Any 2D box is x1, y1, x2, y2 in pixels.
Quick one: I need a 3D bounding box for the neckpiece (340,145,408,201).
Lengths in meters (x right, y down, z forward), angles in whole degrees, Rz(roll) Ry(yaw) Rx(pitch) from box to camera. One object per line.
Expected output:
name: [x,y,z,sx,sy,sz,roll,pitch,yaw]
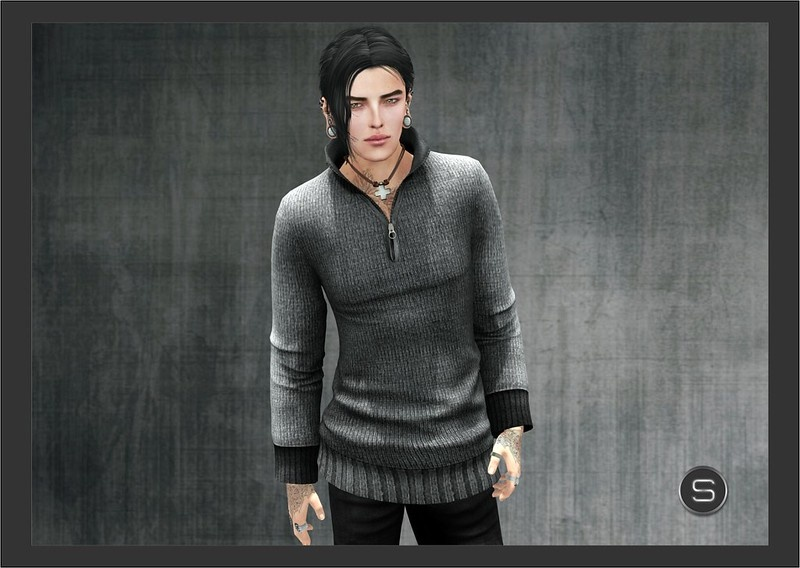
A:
neckpiece: [-0.082,-0.389,4.118,0.226,0.232,0.031,-6,-27,-14]
